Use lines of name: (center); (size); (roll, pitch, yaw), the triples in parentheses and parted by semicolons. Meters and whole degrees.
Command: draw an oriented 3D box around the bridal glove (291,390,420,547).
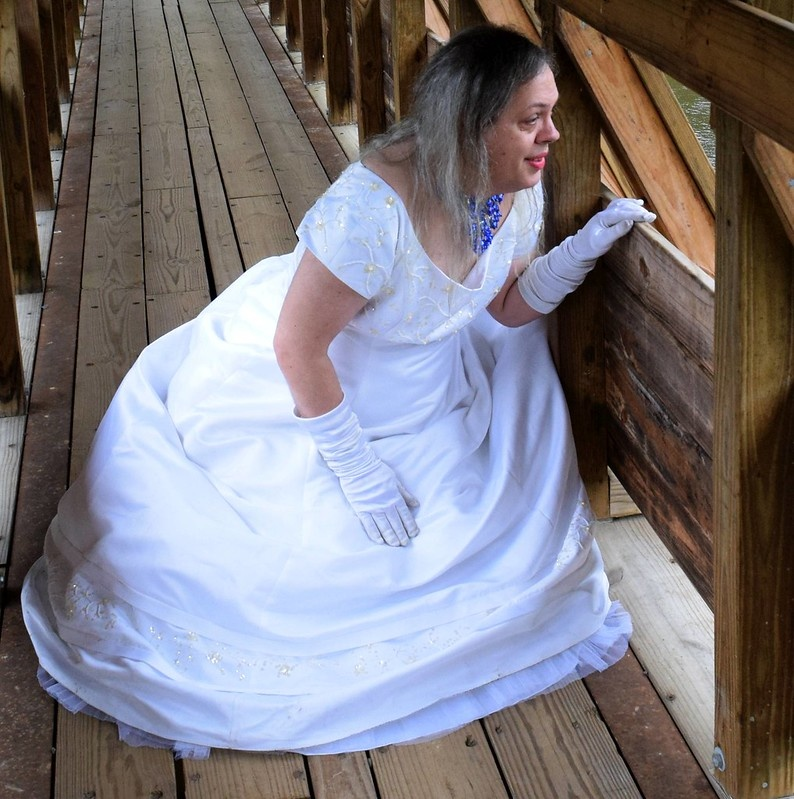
bridal glove: (-0.074, 0.111, 1.621); (0.129, 0.386, 0.096); (-26, 13, -23)

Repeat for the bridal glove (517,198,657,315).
bridal glove: (0.329, -0.290, 1.711); (0.255, 0.138, 0.097); (-35, -2, -7)

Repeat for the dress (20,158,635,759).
dress: (-0.162, -0.100, 1.805); (0.939, 1.253, 0.927); (14, 17, -32)

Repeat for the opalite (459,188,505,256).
opalite: (0.154, -0.332, 1.593); (0.031, 0.067, 0.115); (25, 88, 39)

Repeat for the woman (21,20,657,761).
woman: (-0.058, 0.059, 1.830); (1.055, 1.533, 1.121); (21, 29, 35)
